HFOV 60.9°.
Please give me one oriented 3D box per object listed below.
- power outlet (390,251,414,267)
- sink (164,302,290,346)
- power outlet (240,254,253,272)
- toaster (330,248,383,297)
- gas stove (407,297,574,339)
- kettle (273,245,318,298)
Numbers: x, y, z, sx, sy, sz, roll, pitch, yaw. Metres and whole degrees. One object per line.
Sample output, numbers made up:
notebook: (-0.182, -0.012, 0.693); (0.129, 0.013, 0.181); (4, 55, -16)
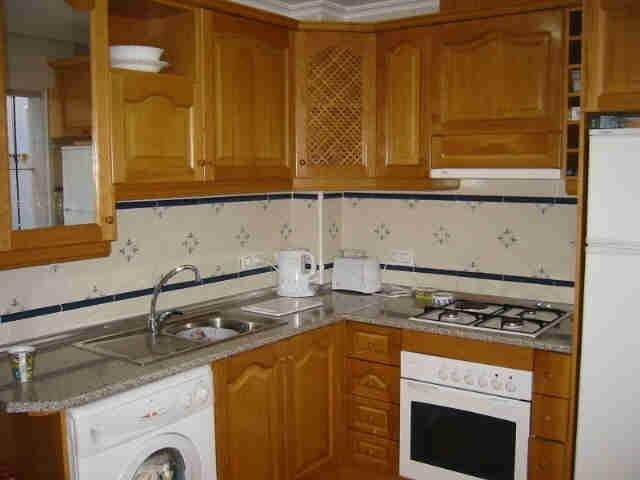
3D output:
power outlet: (0.537, 0.122, 3.575); (0.124, 0.091, 0.037); (5, 13, 33)
sink: (-0.580, 0.456, 2.909); (0.289, 0.132, 0.335); (9, 13, 35)
power outlet: (-0.462, 0.142, 3.354); (0.016, 0.069, 0.115); (-2, -3, 31)
toaster: (0.211, 0.184, 3.547); (0.311, 0.262, 0.183); (4, 17, 23)
gas stove: (0.927, 0.400, 2.954); (0.713, 0.045, 0.621); (7, 12, 32)
kettle: (-0.155, 0.207, 3.319); (0.330, 0.319, 0.205); (3, 7, 24)
